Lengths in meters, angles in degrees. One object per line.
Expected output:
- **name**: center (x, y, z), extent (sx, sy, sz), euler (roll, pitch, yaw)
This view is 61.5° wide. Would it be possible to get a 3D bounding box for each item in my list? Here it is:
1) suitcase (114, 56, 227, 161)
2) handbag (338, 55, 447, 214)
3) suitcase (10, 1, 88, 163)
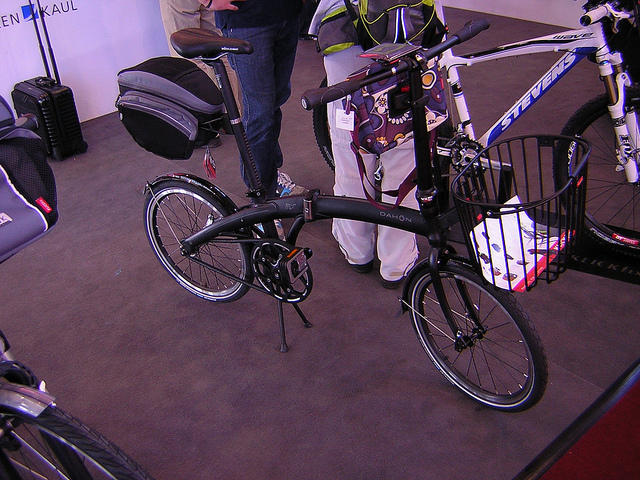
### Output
- **suitcase**: center (-0.692, -0.621, 2.490), extent (0.495, 0.396, 0.412), euler (14, 33, 3)
- **handbag**: center (0.328, -0.494, 2.042), extent (0.366, 0.397, 0.187), euler (-14, -10, 18)
- **suitcase**: center (-1.949, -1.077, 3.725), extent (0.403, 0.949, 0.535), euler (-18, 38, -20)
